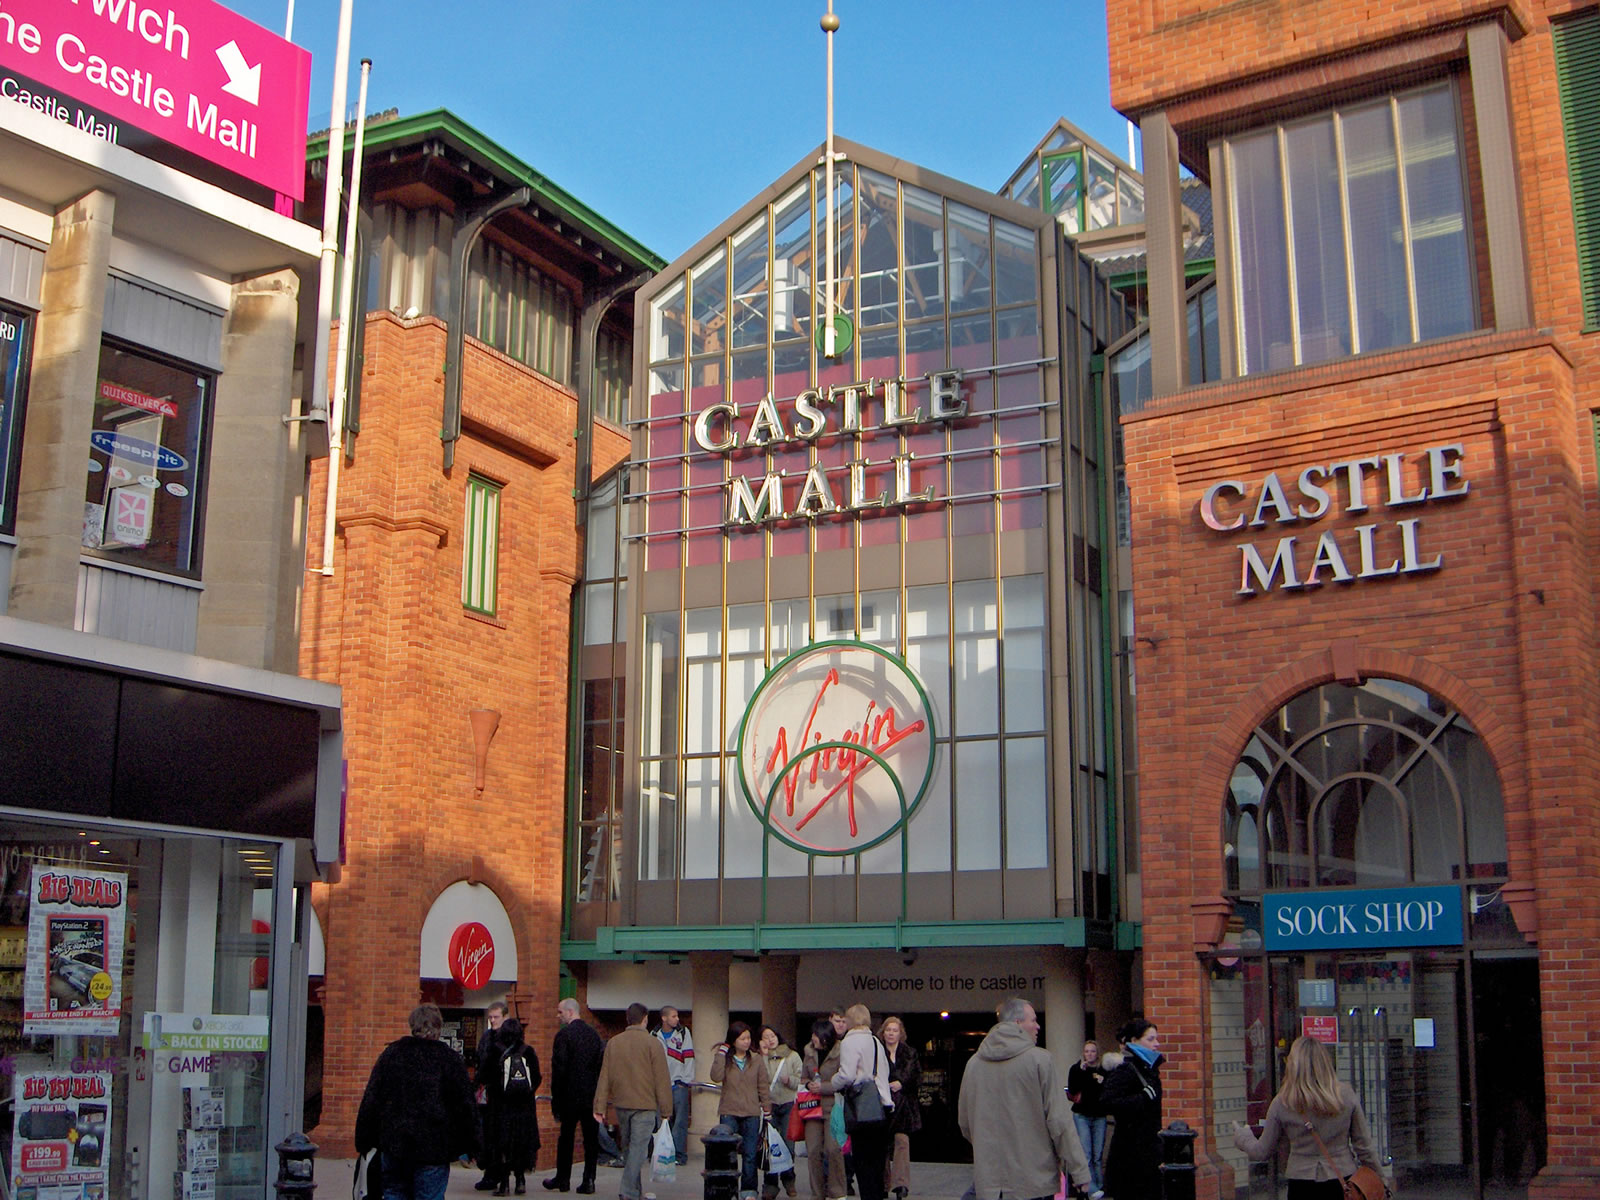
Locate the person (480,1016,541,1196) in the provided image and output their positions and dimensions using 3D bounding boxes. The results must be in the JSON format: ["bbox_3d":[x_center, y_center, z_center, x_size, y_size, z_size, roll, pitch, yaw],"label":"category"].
[{"bbox_3d":[-3.393,5.929,21.217,0.624,2.029,1.188,0,-16,-10],"label":"person"}]

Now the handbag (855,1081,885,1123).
[{"bbox_3d":[0.661,4.898,17.593,0.277,0.369,0.200,-3,-37,-7],"label":"handbag"}]
